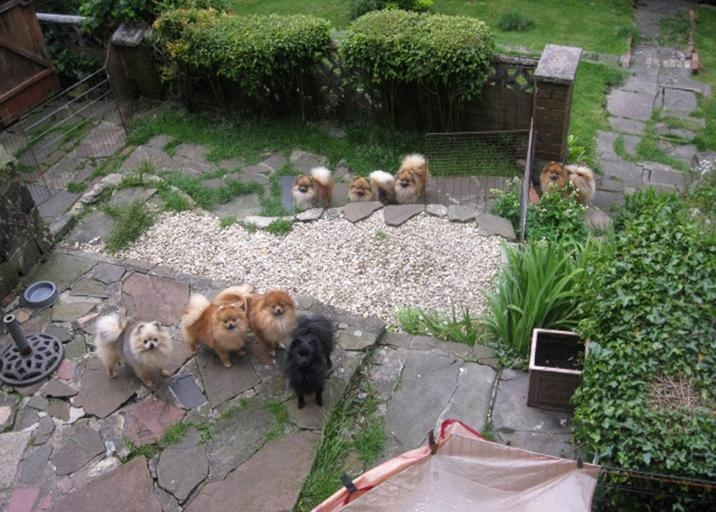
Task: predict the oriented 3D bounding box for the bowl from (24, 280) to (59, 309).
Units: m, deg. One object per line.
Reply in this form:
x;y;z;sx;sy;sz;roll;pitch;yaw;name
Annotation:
-4.225;0.522;7.168;0.417;0.147;0.420;-2;39;2;bowl

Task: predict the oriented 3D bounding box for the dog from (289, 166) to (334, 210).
-0.785;-1.097;9.088;0.489;0.710;0.697;12;41;19;dog

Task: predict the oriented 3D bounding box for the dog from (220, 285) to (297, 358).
-1.238;0.661;6.622;0.550;0.837;1.173;-15;26;-36;dog

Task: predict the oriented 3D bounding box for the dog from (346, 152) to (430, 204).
0.551;-1.190;9.101;1.443;0.598;0.754;-8;39;-6;dog

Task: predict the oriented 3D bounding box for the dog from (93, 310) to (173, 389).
-2.601;1.120;6.170;0.656;0.561;0.380;24;41;20;dog
